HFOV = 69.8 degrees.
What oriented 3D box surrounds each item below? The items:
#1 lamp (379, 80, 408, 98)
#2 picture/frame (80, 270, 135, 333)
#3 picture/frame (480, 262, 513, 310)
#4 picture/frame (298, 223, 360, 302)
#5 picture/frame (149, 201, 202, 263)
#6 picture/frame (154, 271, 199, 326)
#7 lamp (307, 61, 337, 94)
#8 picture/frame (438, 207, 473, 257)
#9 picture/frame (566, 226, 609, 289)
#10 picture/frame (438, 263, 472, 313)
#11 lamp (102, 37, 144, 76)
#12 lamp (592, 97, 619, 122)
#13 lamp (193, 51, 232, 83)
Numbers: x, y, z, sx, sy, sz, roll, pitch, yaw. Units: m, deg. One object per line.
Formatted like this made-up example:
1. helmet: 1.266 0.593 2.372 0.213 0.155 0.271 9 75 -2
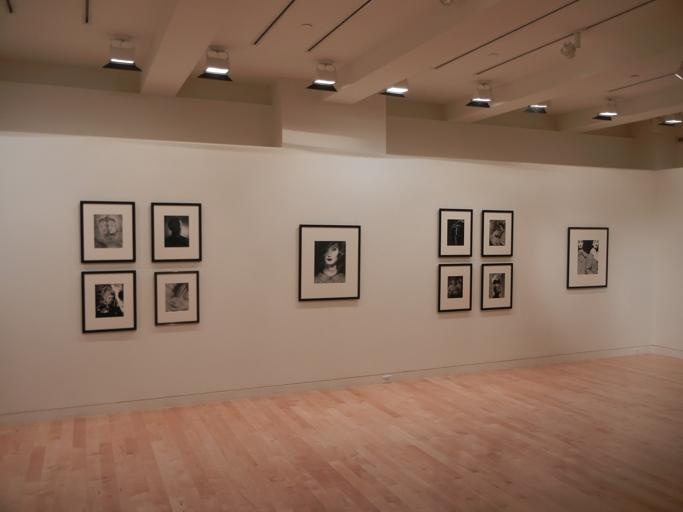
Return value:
1. lamp: 1.032 -3.273 9.418 0.425 0.235 0.595 0 1 -1
2. picture/frame: -3.777 0.698 7.925 0.784 1.037 0.031 2 -28 -33
3. picture/frame: 3.272 0.613 10.434 0.824 1.177 0.069 -2 4 -19
4. picture/frame: -0.299 0.102 9.189 1.269 1.727 0.063 0 -1 -24
5. picture/frame: -2.855 -0.433 8.249 0.861 1.213 0.043 -2 5 -23
6. picture/frame: -2.782 0.683 8.314 0.660 0.915 0.051 -1 23 -21
7. lamp: -0.330 -3.304 8.957 0.579 0.504 0.441 -1 1 -16
8. picture/frame: 2.312 -0.525 10.080 0.869 1.290 0.081 0 1 -25
9. picture/frame: 5.566 0.002 11.172 1.240 1.883 0.062 0 -1 -26
10. picture/frame: 2.303 0.622 10.092 0.842 1.194 0.046 -3 5 -25
11. lamp: -3.580 -3.284 7.922 0.434 0.527 0.482 -1 1 -14
12. lamp: 6.237 -3.433 11.474 0.382 0.452 0.442 5 1 22
13. lamp: -2.186 -3.289 8.278 0.609 0.526 0.609 0 2 -21
